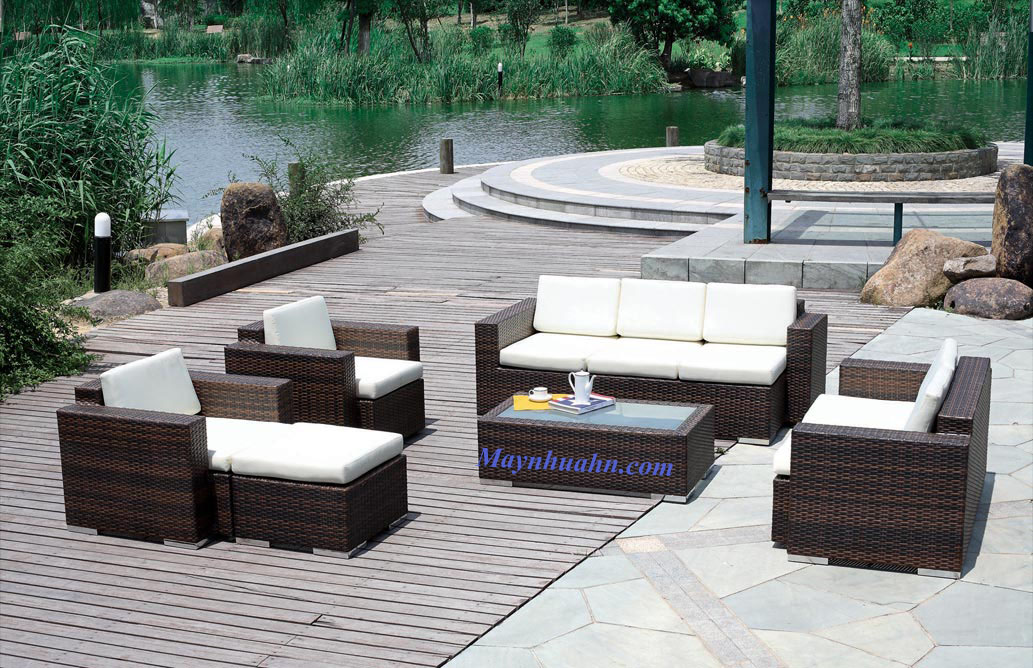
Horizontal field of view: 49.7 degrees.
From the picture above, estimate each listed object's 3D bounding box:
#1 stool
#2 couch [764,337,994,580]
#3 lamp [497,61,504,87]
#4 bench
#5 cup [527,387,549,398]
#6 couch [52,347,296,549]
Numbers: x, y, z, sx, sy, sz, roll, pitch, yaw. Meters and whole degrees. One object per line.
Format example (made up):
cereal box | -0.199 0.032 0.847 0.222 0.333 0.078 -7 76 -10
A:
stool | -1.362 1.058 7.645 1.072 0.569 0.768 0 12 24
couch | 2.384 0.805 7.318 1.274 1.214 1.044 4 19 20
lamp | -0.530 -8.637 37.480 0.176 0.799 0.462 3 19 18
bench | 4.516 -1.430 13.187 2.129 0.640 2.156 9 20 35
cup | 0.162 0.448 8.477 0.117 0.066 0.082 -2 12 1
couch | -2.385 0.713 7.973 1.520 1.176 1.573 4 15 13
